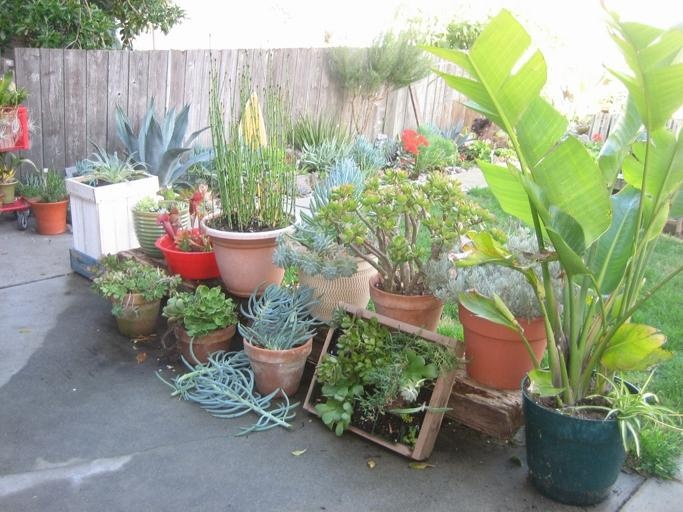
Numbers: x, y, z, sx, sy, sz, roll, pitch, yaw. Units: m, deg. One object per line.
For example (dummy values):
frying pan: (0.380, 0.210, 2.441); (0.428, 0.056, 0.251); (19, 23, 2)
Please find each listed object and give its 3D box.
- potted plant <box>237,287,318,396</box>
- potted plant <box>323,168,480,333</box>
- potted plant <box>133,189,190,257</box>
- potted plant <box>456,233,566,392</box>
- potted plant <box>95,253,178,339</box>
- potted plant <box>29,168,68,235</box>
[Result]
potted plant: (-0.405, 0.529, 3.067); (0.453, 0.588, 0.455); (7, 21, 8)
potted plant: (0.354, -0.018, 3.131); (0.921, 1.114, 0.938); (-1, 14, 1)
potted plant: (-1.555, -0.296, 4.305); (0.480, 0.457, 0.575); (-1, 8, -5)
potted plant: (0.824, 0.303, 2.738); (0.653, 0.554, 0.641); (3, 22, -20)
potted plant: (-1.468, 0.323, 3.563); (0.590, 0.505, 0.419); (2, 21, -6)
potted plant: (-3.197, -0.547, 5.374); (0.370, 0.548, 0.471); (-4, 22, -21)
